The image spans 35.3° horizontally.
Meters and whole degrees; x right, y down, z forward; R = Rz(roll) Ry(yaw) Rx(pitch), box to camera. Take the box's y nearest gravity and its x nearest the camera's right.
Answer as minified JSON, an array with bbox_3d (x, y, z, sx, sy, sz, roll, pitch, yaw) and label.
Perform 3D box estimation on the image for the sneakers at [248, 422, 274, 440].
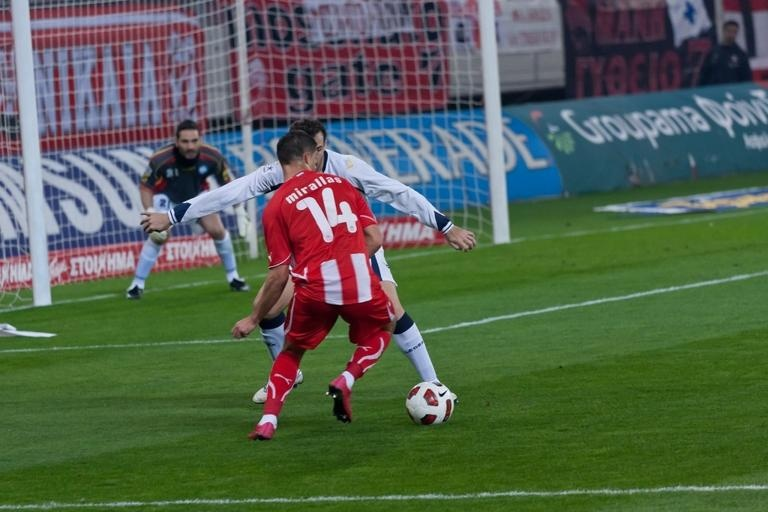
[{"bbox_3d":[-0.876,1.253,8.592,0.175,0.129,0.078,-3,14,3],"label":"sneakers"}]
